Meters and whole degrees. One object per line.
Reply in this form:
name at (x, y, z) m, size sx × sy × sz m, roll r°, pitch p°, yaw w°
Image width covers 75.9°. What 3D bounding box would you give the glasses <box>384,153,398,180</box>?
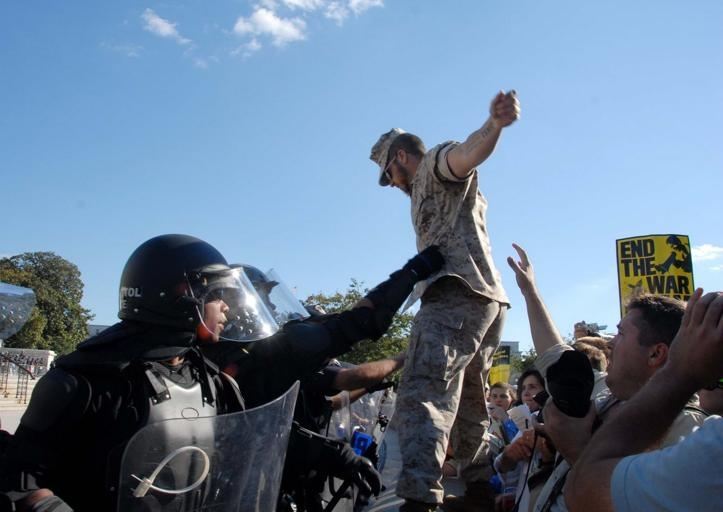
glasses at (0.259, -0.758, 3.987) m, size 0.048 × 0.172 × 0.160 m, roll 1°, pitch 0°, yaw 30°
